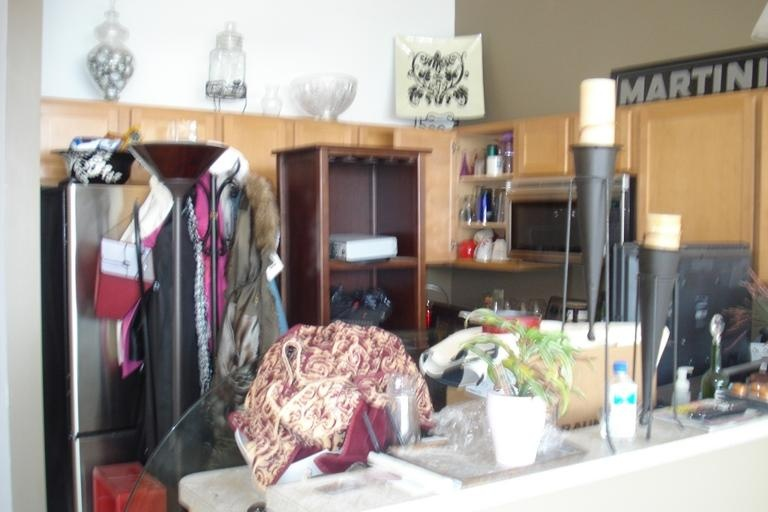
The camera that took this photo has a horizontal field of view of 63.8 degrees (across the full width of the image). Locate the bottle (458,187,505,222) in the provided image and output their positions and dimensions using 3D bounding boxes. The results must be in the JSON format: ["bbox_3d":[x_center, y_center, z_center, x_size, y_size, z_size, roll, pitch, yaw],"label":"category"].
[{"bbox_3d":[0.702,-0.360,4.372,0.331,0.254,0.145,3,7,45],"label":"bottle"}]

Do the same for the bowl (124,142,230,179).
[{"bbox_3d":[-0.895,-0.392,2.634,0.482,0.157,0.490,0,8,0],"label":"bowl"}]

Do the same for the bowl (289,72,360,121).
[{"bbox_3d":[-0.390,-1.019,3.973,0.335,0.217,0.335,0,3,0],"label":"bowl"}]

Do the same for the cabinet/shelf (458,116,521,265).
[{"bbox_3d":[0.718,-0.514,4.774,0.378,1.421,0.623,-6,38,1],"label":"cabinet/shelf"}]

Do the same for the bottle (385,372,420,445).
[{"bbox_3d":[0.043,0.362,1.460,0.076,0.155,0.052,-2,5,-10],"label":"bottle"}]

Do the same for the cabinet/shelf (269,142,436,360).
[{"bbox_3d":[-0.172,-0.079,3.425,0.706,1.027,0.552,-5,6,-38],"label":"cabinet/shelf"}]

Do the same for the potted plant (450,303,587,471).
[{"bbox_3d":[0.321,0.350,1.510,0.252,0.306,0.224,-2,-18,26],"label":"potted plant"}]

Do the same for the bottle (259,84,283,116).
[{"bbox_3d":[-0.738,-1.009,4.008,0.142,0.218,0.197,-3,5,-10],"label":"bottle"}]
